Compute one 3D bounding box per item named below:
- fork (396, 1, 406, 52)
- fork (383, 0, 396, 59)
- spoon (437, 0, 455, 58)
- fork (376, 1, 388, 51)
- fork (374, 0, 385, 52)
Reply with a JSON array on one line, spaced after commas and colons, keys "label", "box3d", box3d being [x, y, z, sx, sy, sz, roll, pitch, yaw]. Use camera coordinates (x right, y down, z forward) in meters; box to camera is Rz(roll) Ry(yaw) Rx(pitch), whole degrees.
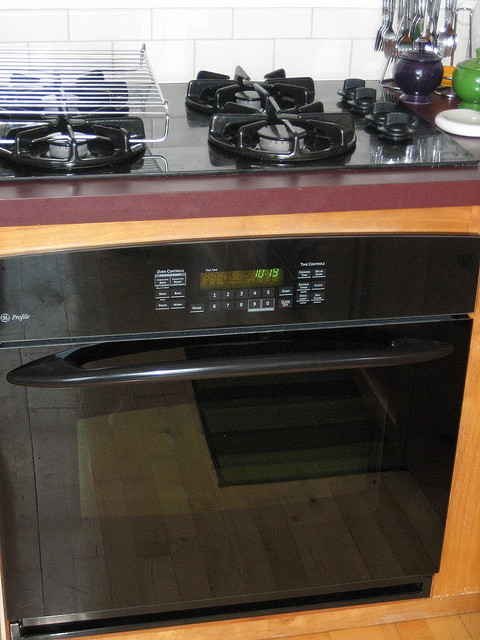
[{"label": "fork", "box3d": [0.356, -0.657, 1.202, 0.015, 0.088, 0.022, -21, 33, -37]}, {"label": "fork", "box3d": [0.340, -0.658, 1.234, 0.017, 0.118, 0.018, 14, 32, 28]}, {"label": "spoon", "box3d": [0.458, -0.646, 1.233, 0.034, 0.136, 0.021, 0, 9, -34]}, {"label": "fork", "box3d": [0.324, -0.675, 1.233, 0.013, 0.084, 0.012, 10, 23, 24]}, {"label": "fork", "box3d": [0.319, -0.684, 1.256, 0.019, 0.127, 0.020, 3, 9, 8]}]
